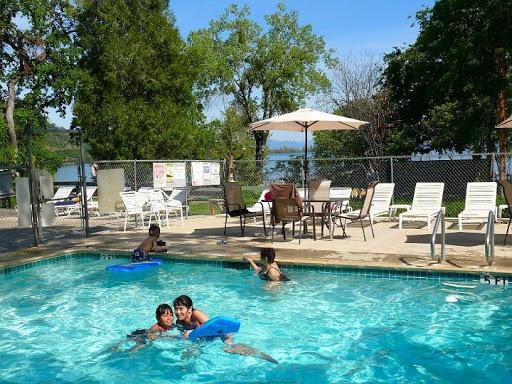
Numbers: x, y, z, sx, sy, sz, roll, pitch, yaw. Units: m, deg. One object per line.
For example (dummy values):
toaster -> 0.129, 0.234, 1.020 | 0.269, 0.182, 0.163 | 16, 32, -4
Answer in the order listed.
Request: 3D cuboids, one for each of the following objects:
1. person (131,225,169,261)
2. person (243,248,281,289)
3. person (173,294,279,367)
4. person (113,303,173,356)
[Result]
person -> -2.374, 1.389, 9.902 | 0.450, 1.226, 0.791 | -6, -11, 35
person -> 0.105, 1.390, 8.444 | 0.727, 1.108, 0.591 | -2, 0, -2
person -> -0.295, 1.923, 6.438 | 1.732, 0.684, 0.670 | 9, 1, 16
person -> -1.622, 1.908, 6.392 | 0.850, 0.593, 0.437 | -3, 14, -4
